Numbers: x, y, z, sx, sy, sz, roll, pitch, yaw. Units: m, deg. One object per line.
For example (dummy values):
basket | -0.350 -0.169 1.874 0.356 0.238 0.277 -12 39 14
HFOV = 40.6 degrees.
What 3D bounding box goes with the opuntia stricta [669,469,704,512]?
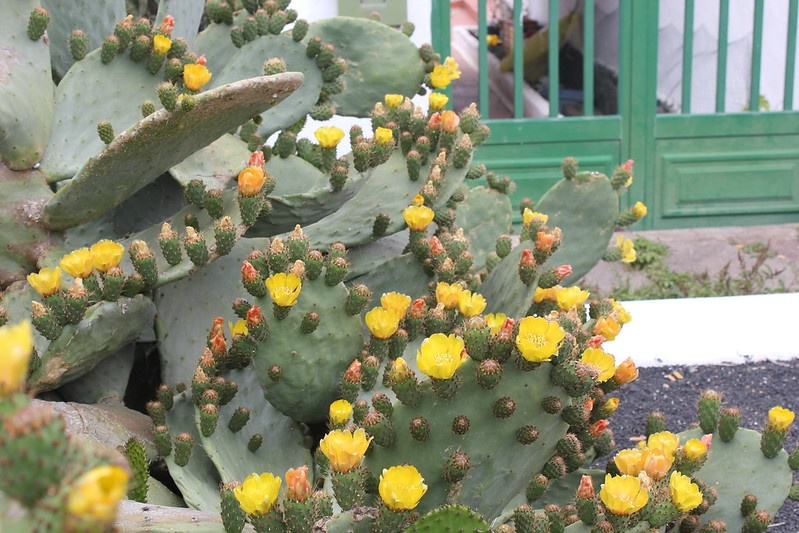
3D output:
opuntia stricta | 0.988 0.781 3.807 0.124 0.109 0.132 41 10 35
